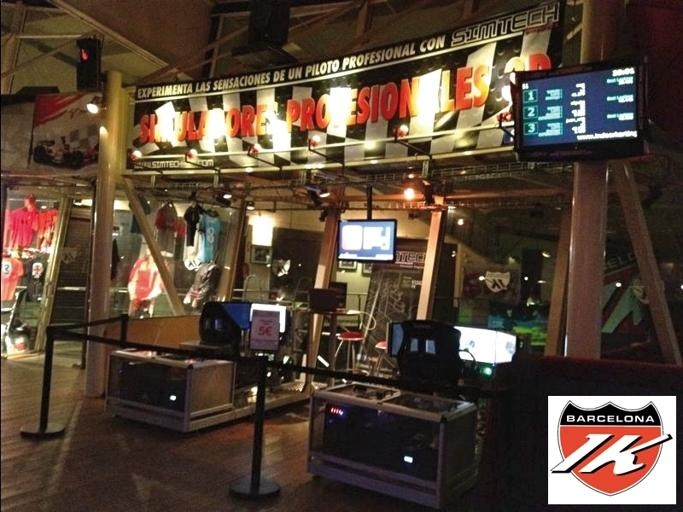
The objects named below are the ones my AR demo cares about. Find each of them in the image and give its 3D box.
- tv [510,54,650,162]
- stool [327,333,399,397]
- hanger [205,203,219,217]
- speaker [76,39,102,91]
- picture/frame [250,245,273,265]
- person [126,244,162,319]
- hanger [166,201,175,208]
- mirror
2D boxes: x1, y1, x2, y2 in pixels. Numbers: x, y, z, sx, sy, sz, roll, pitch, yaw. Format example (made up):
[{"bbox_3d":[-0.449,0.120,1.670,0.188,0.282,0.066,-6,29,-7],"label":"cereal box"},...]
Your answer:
[{"bbox_3d":[2.186,-1.321,5.131,1.152,0.848,0.232,2,4,28],"label":"tv"},{"bbox_3d":[0.365,1.666,9.294,1.061,1.404,1.049,0,-2,-9],"label":"stool"},{"bbox_3d":[-2.608,-0.932,11.483,0.071,0.243,0.241,-20,-20,34],"label":"hanger"},{"bbox_3d":[-3.664,-2.801,8.237,0.431,0.744,0.290,5,6,40],"label":"speaker"},{"bbox_3d":[-1.839,-0.042,12.843,0.424,0.317,0.059,8,-4,-42],"label":"picture/frame"},{"bbox_3d":[-3.718,0.453,10.733,0.631,1.350,0.390,-1,5,-22],"label":"person"},{"bbox_3d":[-3.314,-1.012,10.946,0.090,0.127,0.031,-4,-10,-37],"label":"hanger"},{"bbox_3d":[-5.825,0.327,10.786,1.112,2.988,0.626,-1,5,-28],"label":"mirror"}]
